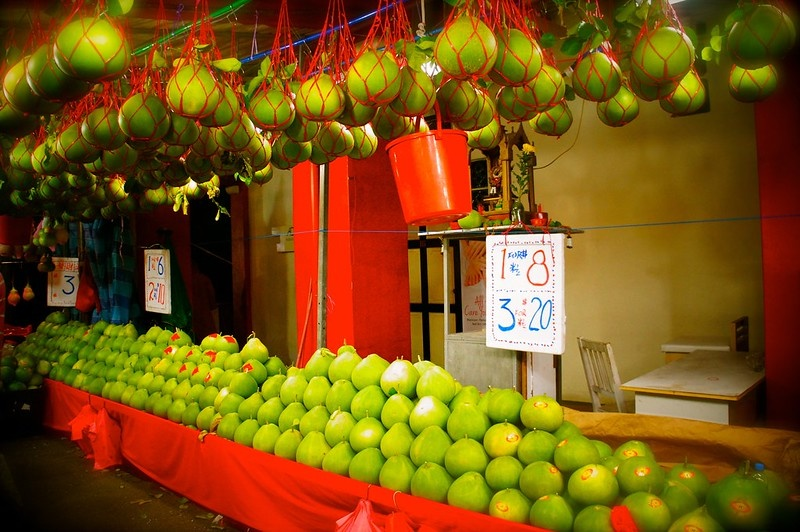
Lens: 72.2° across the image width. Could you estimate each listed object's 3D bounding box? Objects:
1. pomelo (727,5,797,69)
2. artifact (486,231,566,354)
[{"bbox_3d":[1.302,-0.831,1.977,0.227,0.221,0.112,-7,7,4],"label":"pomelo"},{"bbox_3d":[0.736,0.153,3.185,0.628,0.893,0.195,-3,-6,41],"label":"artifact"}]
